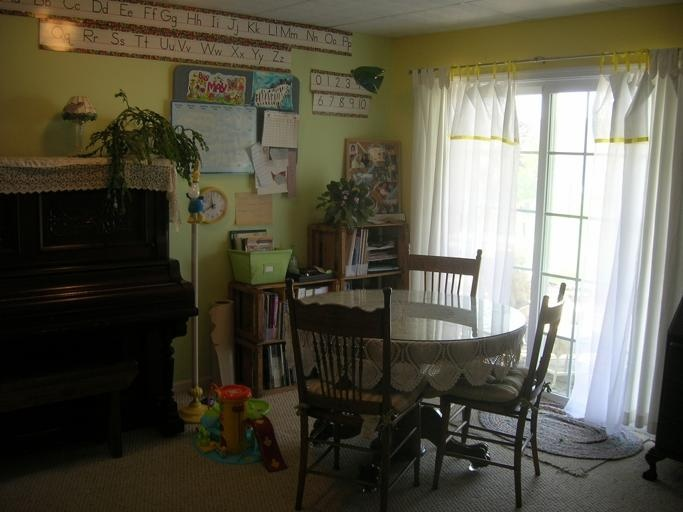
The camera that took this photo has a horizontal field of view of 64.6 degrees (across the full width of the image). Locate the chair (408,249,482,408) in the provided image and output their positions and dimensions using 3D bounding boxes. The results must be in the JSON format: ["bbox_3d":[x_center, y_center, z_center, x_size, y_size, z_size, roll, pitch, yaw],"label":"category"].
[{"bbox_3d":[0.860,0.377,4.373,0.653,1.158,0.711,11,19,34],"label":"chair"}]

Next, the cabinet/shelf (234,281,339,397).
[{"bbox_3d":[-0.387,0.553,3.588,0.302,0.875,0.867,0,2,44],"label":"cabinet/shelf"}]

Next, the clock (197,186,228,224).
[{"bbox_3d":[-0.994,-0.395,4.131,0.283,0.346,0.052,-1,3,-40],"label":"clock"}]

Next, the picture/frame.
[{"bbox_3d":[0.297,-0.725,4.916,0.513,0.789,0.028,1,-20,1],"label":"picture/frame"}]

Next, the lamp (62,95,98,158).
[{"bbox_3d":[-1.728,-0.869,3.581,0.180,0.376,0.202,-11,17,-43],"label":"lamp"}]

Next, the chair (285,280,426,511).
[{"bbox_3d":[0.086,0.733,2.984,0.732,1.298,0.627,3,13,10],"label":"chair"}]

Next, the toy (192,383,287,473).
[{"bbox_3d":[-0.620,1.060,3.434,0.650,0.394,0.302,5,13,16],"label":"toy"}]

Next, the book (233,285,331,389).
[{"bbox_3d":[-0.418,0.541,3.645,0.264,0.749,0.776,-2,6,-18],"label":"book"}]
